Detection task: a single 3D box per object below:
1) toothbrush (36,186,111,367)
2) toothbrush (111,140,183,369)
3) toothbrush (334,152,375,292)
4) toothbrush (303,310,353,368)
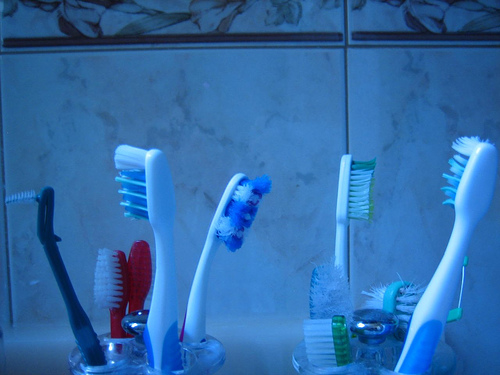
[{"bbox_3d":[-0.407,0.205,1.561,0.045,0.428,0.033,-19,0,21],"label":"toothbrush"},{"bbox_3d":[-0.200,0.134,1.363,0.137,0.433,0.119,0,2,-23],"label":"toothbrush"},{"bbox_3d":[0.213,0.067,1.460,0.073,0.272,0.135,1,2,26],"label":"toothbrush"},{"bbox_3d":[0.150,0.294,1.327,0.076,0.131,0.120,-6,-11,10],"label":"toothbrush"}]
